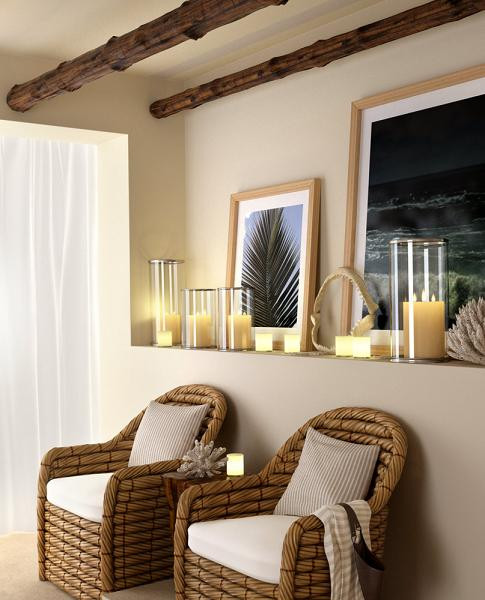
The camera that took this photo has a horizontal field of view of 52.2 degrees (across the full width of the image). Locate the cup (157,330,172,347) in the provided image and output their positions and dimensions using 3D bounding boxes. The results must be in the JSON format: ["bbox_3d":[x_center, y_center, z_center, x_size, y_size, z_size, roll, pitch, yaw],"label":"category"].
[{"bbox_3d":[-0.495,0.247,3.128,0.092,0.093,0.092,0,-1,0],"label":"cup"}]

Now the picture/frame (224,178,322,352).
[{"bbox_3d":[0.186,-0.178,2.736,0.082,1.113,1.004,4,-6,-36],"label":"picture/frame"}]

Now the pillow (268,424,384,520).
[{"bbox_3d":[0.287,0.578,1.650,0.375,0.345,0.143,-4,-49,50],"label":"pillow"}]

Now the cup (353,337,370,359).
[{"bbox_3d":[0.486,0.199,2.039,0.082,0.085,0.079,-1,-3,0],"label":"cup"}]

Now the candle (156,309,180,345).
[{"bbox_3d":[-0.473,0.186,3.213,0.201,0.211,0.194,0,-3,-5],"label":"candle"}]

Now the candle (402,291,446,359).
[{"bbox_3d":[0.636,0.104,1.746,0.150,0.211,0.086,2,2,18],"label":"candle"}]

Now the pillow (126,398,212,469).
[{"bbox_3d":[-0.327,0.637,2.388,0.368,0.337,0.112,-5,-33,37],"label":"pillow"}]

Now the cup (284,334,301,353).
[{"bbox_3d":[0.241,0.212,2.417,0.083,0.087,0.081,0,2,0],"label":"cup"}]

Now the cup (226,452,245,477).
[{"bbox_3d":[-0.031,0.680,2.076,0.093,0.096,0.089,0,-2,0],"label":"cup"}]

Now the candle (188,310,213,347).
[{"bbox_3d":[-0.243,0.175,2.906,0.171,0.194,0.125,1,2,-15],"label":"candle"}]

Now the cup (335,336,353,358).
[{"bbox_3d":[0.437,0.200,2.137,0.083,0.085,0.079,0,-6,0],"label":"cup"}]

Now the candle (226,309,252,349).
[{"bbox_3d":[-0.019,0.168,2.624,0.130,0.184,0.110,1,2,-2],"label":"candle"}]

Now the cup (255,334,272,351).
[{"bbox_3d":[0.103,0.224,2.592,0.089,0.092,0.088,0,-4,0],"label":"cup"}]
